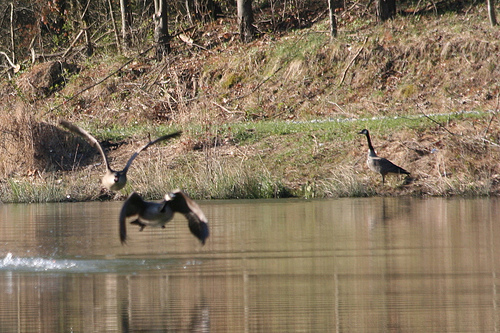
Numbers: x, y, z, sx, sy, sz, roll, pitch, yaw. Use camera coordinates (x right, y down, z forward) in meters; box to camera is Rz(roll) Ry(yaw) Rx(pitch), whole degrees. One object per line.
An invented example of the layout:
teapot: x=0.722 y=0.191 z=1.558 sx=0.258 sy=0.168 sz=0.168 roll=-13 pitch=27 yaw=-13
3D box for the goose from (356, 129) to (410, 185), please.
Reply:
goose: x=5.142 y=-0.374 z=44.307 sx=1.884 sy=2.288 sz=0.782 roll=1 pitch=20 yaw=19
